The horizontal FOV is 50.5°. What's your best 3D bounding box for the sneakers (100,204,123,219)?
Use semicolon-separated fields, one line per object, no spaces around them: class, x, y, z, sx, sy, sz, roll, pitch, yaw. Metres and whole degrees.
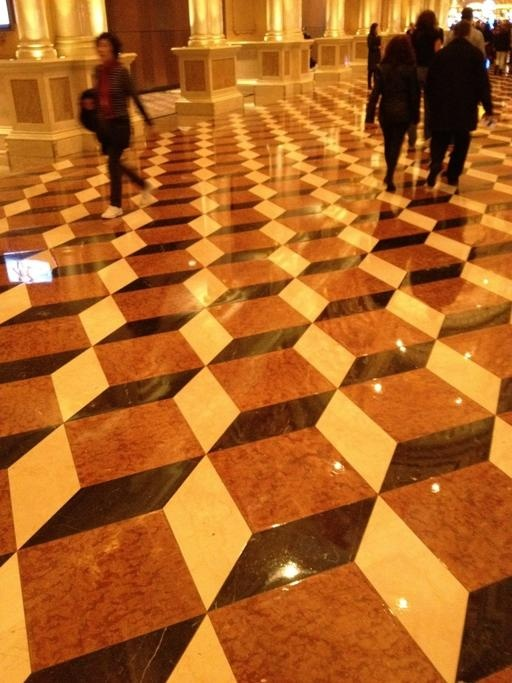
sneakers;-1.122;-0.999;4.214;0.085;0.082;0.196;15;25;9

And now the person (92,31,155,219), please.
person;-1.017;-1.585;4.095;0.441;1.269;0.403;-8;26;-15

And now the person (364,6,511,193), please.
person;1.418;-1.887;4.472;0.951;1.296;0.400;4;26;10
